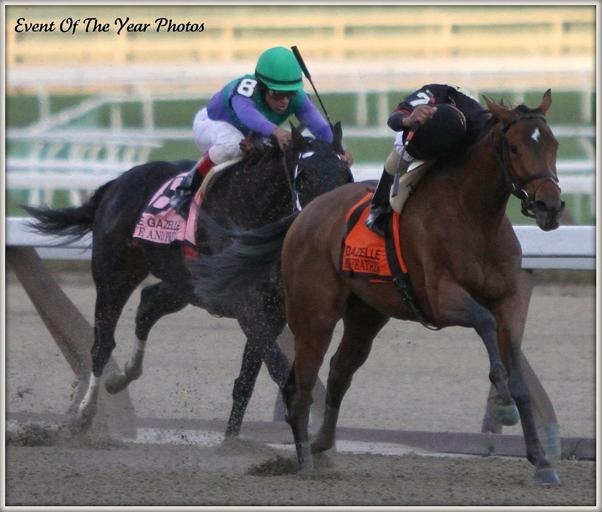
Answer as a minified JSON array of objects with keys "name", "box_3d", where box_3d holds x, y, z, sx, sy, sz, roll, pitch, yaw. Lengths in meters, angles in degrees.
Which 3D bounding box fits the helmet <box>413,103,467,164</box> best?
[{"name":"helmet","box_3d":[0.639,-0.580,6.218,0.175,0.251,0.132,36,-4,8]}]

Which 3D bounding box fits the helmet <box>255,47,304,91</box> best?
[{"name":"helmet","box_3d":[-0.110,-0.995,7.118,0.200,0.154,0.255,-9,40,-29]}]

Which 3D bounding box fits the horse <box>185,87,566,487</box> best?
[{"name":"horse","box_3d":[0.559,0.161,6.373,1.440,1.854,0.463,7,16,29]}]

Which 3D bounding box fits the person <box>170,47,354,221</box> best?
[{"name":"person","box_3d":[-0.223,-0.683,7.325,0.612,0.766,1.060,-9,3,-38]}]
